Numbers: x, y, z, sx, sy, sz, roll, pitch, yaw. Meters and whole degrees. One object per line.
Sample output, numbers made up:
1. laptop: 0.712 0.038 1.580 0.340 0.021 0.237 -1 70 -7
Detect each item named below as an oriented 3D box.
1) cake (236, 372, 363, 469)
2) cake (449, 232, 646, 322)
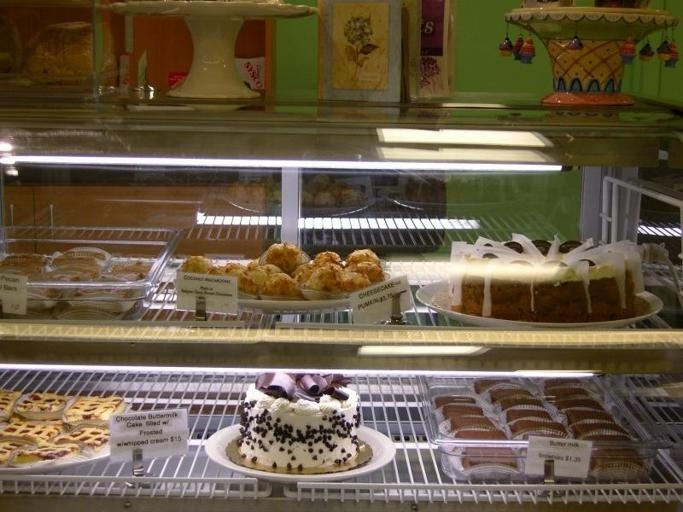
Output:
1. cake: -0.131 0.490 2.011 0.529 0.241 0.404 0 10 -2
2. cake: 0.547 0.015 1.655 0.456 0.227 0.374 -1 10 0
